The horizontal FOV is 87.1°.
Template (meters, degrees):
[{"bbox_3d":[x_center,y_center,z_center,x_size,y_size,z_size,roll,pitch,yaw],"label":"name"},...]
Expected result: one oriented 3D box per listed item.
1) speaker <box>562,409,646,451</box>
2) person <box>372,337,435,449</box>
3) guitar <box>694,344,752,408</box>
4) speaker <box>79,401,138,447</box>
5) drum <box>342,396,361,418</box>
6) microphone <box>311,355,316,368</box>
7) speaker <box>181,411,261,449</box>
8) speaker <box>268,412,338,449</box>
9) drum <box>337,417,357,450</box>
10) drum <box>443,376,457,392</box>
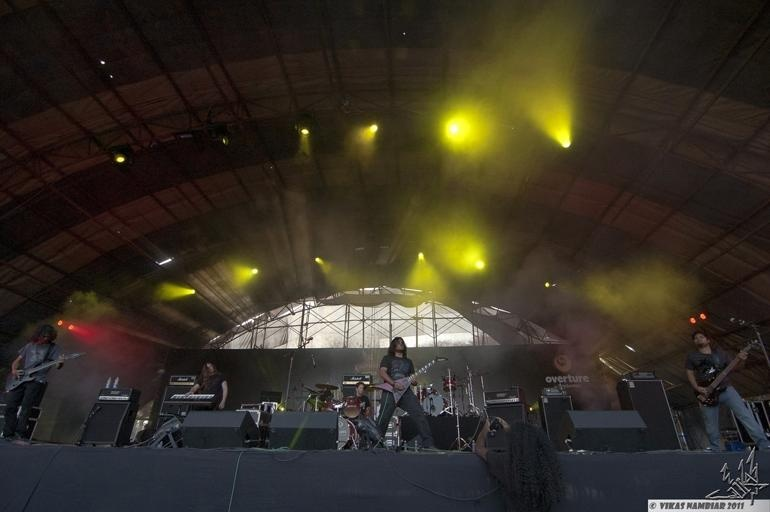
[{"bbox_3d":[2.603,2.010,4.774,0.795,0.406,0.388,-4,3,10],"label":"speaker"},{"bbox_3d":[0.302,1.986,6.183,0.846,1.730,0.728,7,-31,-6],"label":"person"},{"bbox_3d":[5.442,1.895,6.401,0.853,0.827,0.416,-4,-31,12],"label":"guitar"},{"bbox_3d":[-4.598,2.803,6.699,0.696,0.622,0.376,-6,-32,6],"label":"speaker"},{"bbox_3d":[-0.705,3.145,8.409,0.349,0.324,0.334,-2,-51,-3],"label":"drum"},{"bbox_3d":[-2.786,4.104,15.714,0.265,0.454,0.110,-3,-15,-5],"label":"microphone"},{"bbox_3d":[-2.091,2.127,5.043,0.741,0.380,0.505,-1,-8,2],"label":"speaker"},{"bbox_3d":[-0.991,2.140,4.919,0.797,0.445,0.395,4,-28,-9],"label":"speaker"},{"bbox_3d":[-0.642,3.136,7.127,0.359,0.526,0.993,4,-30,-1],"label":"drum"},{"bbox_3d":[1.575,3.135,9.897,0.345,0.338,0.351,-1,-6,5],"label":"drum"}]
